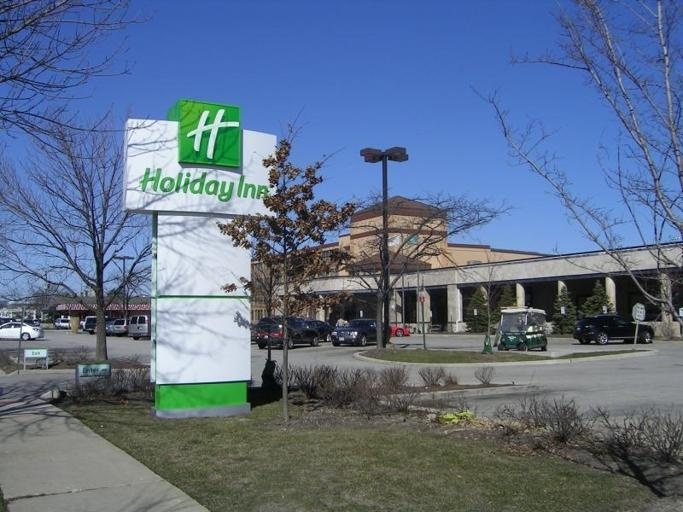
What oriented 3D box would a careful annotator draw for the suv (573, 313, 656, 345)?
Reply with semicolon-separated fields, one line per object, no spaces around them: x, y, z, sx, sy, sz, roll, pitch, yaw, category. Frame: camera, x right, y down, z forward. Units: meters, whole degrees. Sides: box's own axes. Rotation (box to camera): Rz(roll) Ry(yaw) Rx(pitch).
16.535;4.572;38.413;4.181;1.528;2.031;-2;-3;-2;suv

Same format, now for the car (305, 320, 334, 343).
-1.479;5.017;43.831;2.116;0.942;1.002;13;-17;-43;car

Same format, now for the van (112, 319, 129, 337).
-20.196;6.499;57.463;1.345;1.632;3.441;0;-4;-22;van

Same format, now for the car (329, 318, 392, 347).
1.272;4.924;41.093;1.473;1.098;3.404;-7;-13;34;car
